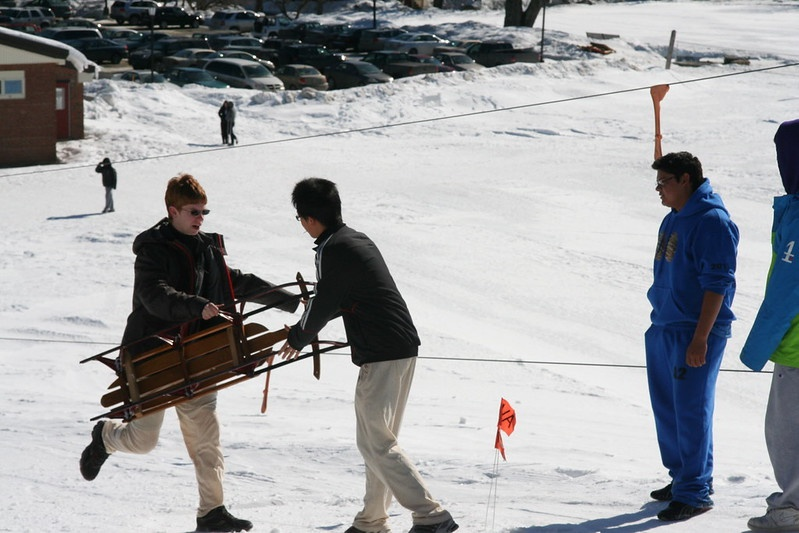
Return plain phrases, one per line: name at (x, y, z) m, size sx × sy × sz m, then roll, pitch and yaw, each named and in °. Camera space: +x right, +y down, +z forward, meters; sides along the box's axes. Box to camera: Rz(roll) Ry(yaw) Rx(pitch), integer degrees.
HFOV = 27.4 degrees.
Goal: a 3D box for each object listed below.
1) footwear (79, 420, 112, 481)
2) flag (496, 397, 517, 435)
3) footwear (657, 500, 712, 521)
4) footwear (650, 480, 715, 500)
footwear at (-6.210, 3.806, 33.952) m, size 0.566 × 1.227 × 0.645 m, roll 13°, pitch 10°, yaw -11°
flag at (2.273, 3.136, 33.654) m, size 0.329 × 0.864 × 0.663 m, roll 7°, pitch 12°, yaw 3°
footwear at (5.809, 4.987, 33.307) m, size 1.171 × 0.306 × 0.355 m, roll -1°, pitch -1°, yaw -11°
footwear at (5.952, 4.625, 33.817) m, size 1.445 × 0.441 × 0.412 m, roll 0°, pitch 5°, yaw -7°
